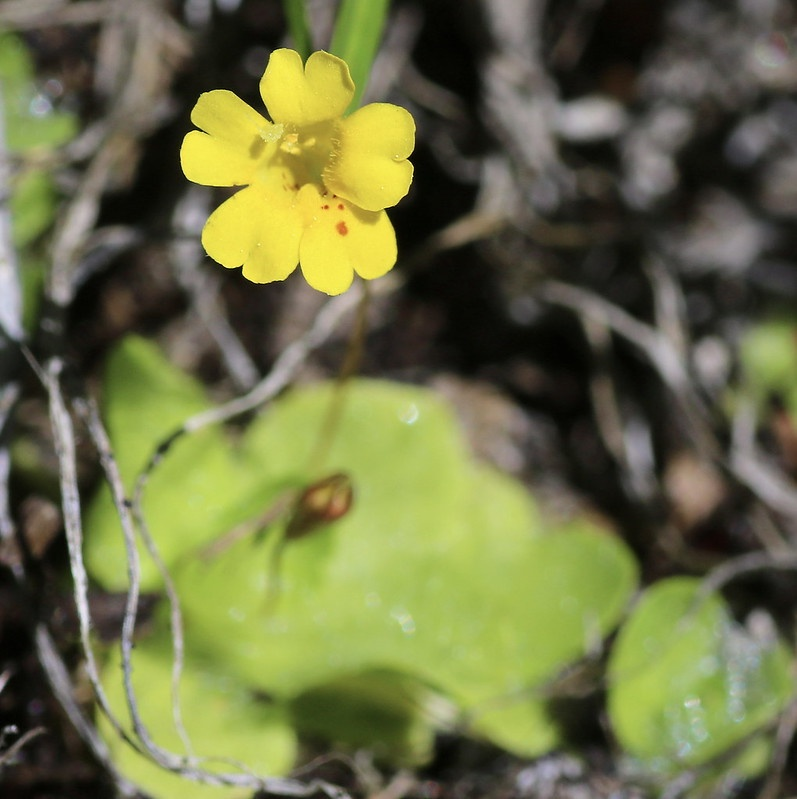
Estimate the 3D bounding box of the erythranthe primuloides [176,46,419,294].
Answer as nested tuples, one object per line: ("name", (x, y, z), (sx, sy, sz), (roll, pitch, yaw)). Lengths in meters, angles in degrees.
("erythranthe primuloides", (-0.072, -0.226, 0.908), (0.176, 0.181, 0.070), (-16, 52, 29))
